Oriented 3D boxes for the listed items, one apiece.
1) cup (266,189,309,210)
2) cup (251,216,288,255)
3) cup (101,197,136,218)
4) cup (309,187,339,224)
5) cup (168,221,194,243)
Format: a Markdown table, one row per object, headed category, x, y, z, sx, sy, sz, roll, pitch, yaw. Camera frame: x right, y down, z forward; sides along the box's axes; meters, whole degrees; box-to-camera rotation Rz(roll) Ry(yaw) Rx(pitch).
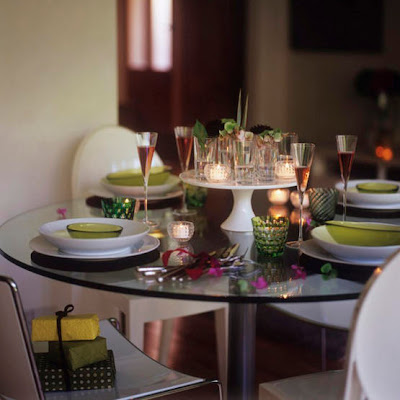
| category | x | y | z | sx | sy | sz | roll | pitch | yaw |
| --- | --- | --- | --- | --- | --- | --- | --- | --- | --- |
| cup | 0.276 | -0.005 | 1.400 | 0.052 | 0.056 | 0.125 | -6 | 7 | -39 |
| cup | 0.141 | 0.069 | 0.896 | 0.066 | 0.072 | 0.077 | 0 | 0 | 4 |
| cup | -0.217 | 0.022 | 1.160 | 0.056 | 0.049 | 0.066 | 0 | -2 | 5 |
| cup | 0.320 | 0.014 | 1.202 | 0.078 | 0.097 | 0.086 | -1 | 0 | 1 |
| cup | -0.044 | 0.069 | 1.004 | 0.043 | 0.039 | 0.049 | 0 | 1 | 4 |
